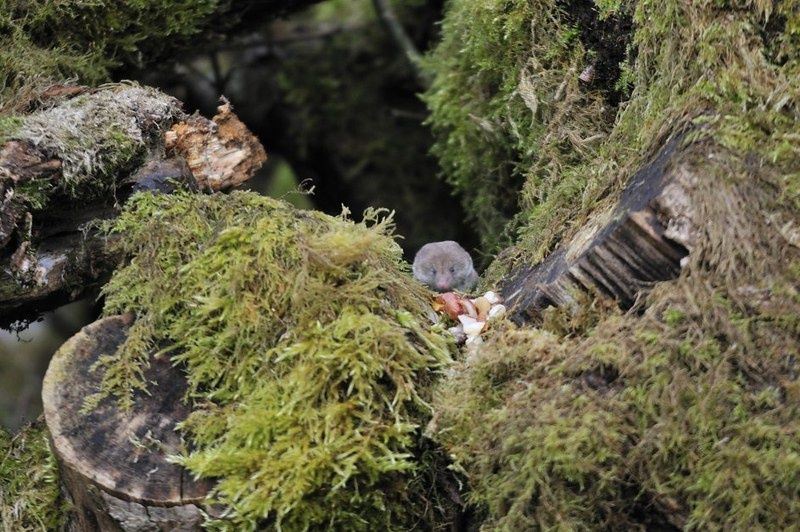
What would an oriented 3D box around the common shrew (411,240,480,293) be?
[{"bbox_3d":[0.340,0.030,8.358,0.359,0.322,0.414,1,9,4],"label":"common shrew"}]
